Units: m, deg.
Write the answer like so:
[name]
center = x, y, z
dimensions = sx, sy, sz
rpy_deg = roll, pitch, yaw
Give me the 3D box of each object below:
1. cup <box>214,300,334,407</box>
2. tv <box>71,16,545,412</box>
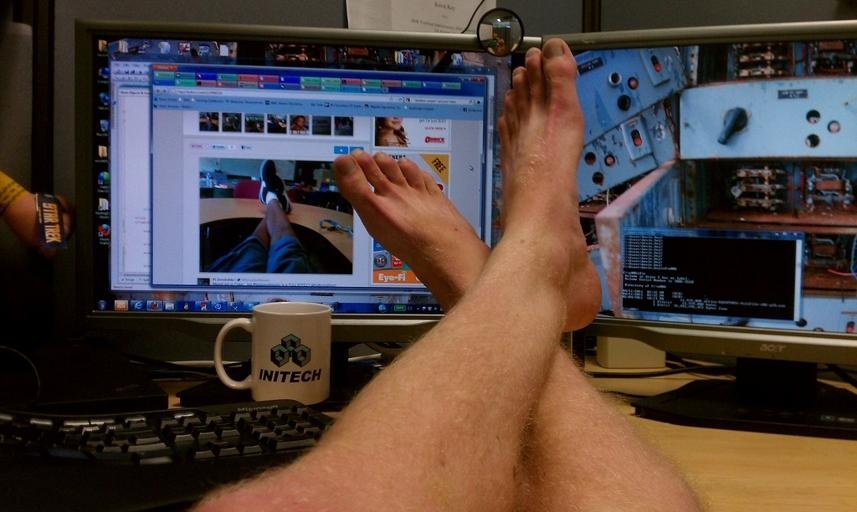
[cup]
center = -0.219, 0.147, 1.161
dimensions = 0.200, 0.149, 0.119
rpy_deg = -3, 2, -8
[tv]
center = -0.198, -0.075, 1.210
dimensions = 0.659, 0.452, 0.174
rpy_deg = 0, -2, -5
